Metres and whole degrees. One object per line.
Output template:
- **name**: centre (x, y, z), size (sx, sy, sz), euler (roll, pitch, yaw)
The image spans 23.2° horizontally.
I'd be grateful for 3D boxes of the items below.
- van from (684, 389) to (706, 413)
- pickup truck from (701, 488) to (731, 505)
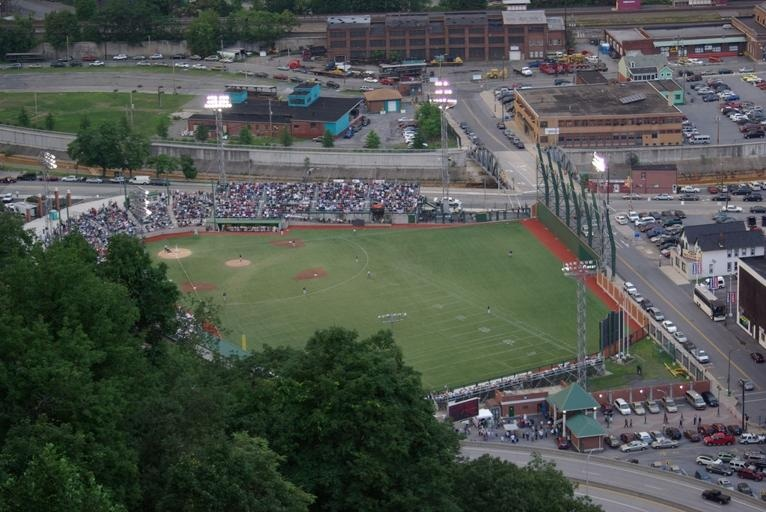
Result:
- **van**: centre (46.358, 20.976, 274.889), size (2.208, 1.480, 3.009), euler (-12, 28, -13)
- **pickup truck**: centre (46.332, 32.707, 258.081), size (3.070, 1.200, 2.019), euler (7, 20, 29)
